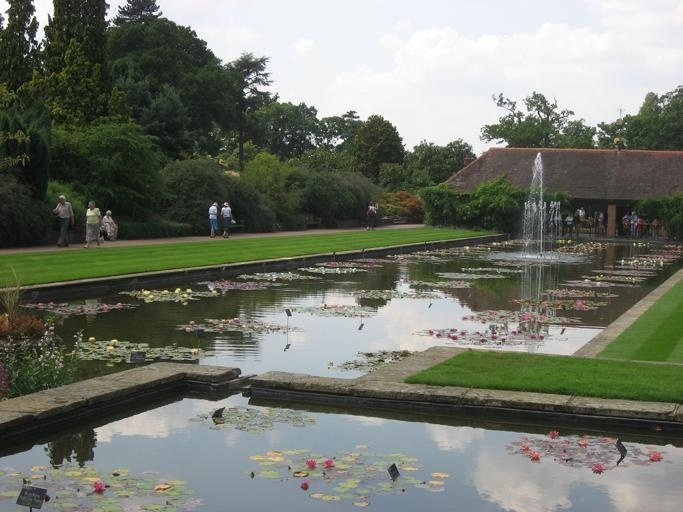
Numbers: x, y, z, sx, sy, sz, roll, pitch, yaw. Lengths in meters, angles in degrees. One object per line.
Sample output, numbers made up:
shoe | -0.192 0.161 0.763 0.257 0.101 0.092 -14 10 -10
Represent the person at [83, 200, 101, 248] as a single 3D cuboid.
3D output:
person | -9.417 -1.227 31.540 0.438 1.716 1.248 -1 9 -12
